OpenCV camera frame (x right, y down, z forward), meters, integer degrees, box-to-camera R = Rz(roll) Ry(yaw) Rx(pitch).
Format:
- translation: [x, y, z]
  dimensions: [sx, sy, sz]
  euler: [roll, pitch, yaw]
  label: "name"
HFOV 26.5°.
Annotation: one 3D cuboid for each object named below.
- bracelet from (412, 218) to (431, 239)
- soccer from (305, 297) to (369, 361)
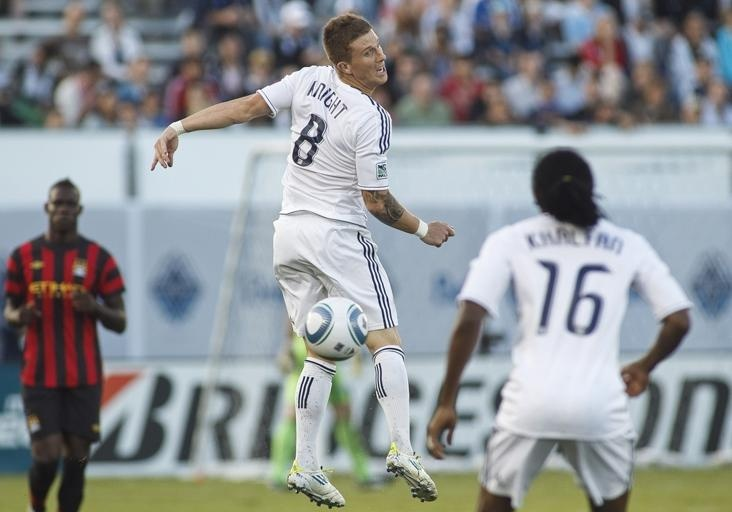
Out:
- translation: [0.408, -0.213, 11.496]
  dimensions: [0.091, 0.109, 0.128]
  euler: [16, 20, -9]
  label: "bracelet"
- translation: [-0.186, 0.588, 11.397]
  dimensions: [0.426, 0.440, 0.434]
  euler: [-25, -20, 18]
  label: "soccer"
